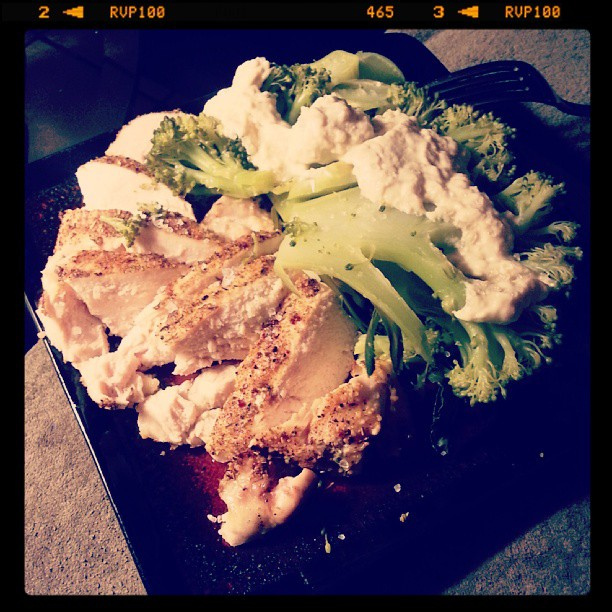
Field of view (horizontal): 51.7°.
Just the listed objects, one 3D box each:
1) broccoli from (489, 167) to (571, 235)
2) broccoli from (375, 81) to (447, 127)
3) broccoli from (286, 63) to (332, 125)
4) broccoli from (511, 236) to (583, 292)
[{"bbox_3d":[1.131,-0.539,3.034,0.117,0.390,0.349,10,94,12],"label":"broccoli"},{"bbox_3d":[0.514,-0.993,3.095,0.262,0.272,0.137,30,80,11],"label":"broccoli"},{"bbox_3d":[0.031,-1.038,3.186,0.288,0.078,0.282,-38,50,7],"label":"broccoli"},{"bbox_3d":[1.089,-0.207,2.936,0.250,0.113,0.313,-40,55,-16],"label":"broccoli"}]
